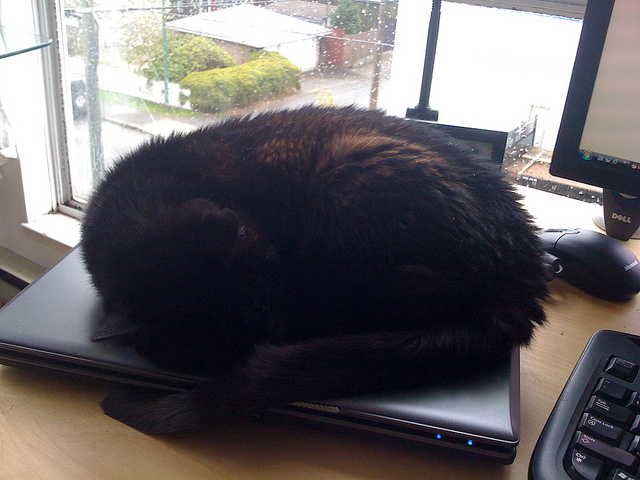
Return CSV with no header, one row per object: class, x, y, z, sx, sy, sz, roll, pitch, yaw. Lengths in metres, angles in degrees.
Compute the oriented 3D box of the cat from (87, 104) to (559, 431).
cat,0.001,-0.005,0.734,0.596,0.239,0.402,-5,63,-6
